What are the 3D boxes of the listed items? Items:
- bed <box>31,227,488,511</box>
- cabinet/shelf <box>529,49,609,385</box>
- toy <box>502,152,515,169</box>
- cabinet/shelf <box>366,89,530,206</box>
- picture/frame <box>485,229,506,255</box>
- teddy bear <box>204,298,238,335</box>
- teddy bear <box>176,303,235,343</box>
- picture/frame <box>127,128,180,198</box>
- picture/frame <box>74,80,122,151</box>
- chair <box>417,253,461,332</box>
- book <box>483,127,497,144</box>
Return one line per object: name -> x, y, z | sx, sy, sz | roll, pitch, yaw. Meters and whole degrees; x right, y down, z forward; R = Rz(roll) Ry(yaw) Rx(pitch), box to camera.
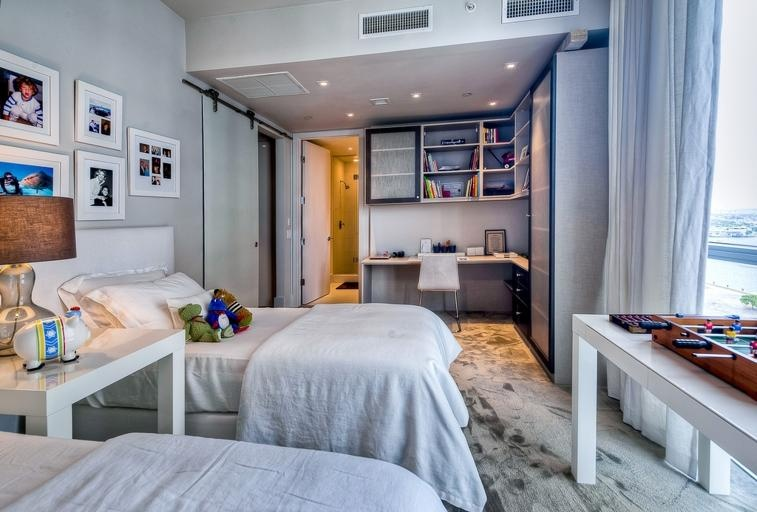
bed -> -0.574, 0.723, 3.192 | 2.115, 1.052, 1.784 | 0, 2, -2
cabinet/shelf -> 1.569, -0.357, 4.116 | 0.432, 2.612, 1.027 | 2, 14, -3
toy -> 1.512, -1.123, 5.753 | 0.109, 0.183, 0.346 | 4, 14, 5
cabinet/shelf -> 0.779, -1.136, 5.862 | 1.885, 1.085, 0.719 | 7, 14, 18
picture/frame -> 1.442, -0.170, 6.027 | 0.311, 0.414, 0.037 | 1, -2, 6
teddy bear -> -1.040, 0.399, 3.313 | 0.217, 0.247, 0.198 | 1, -2, -43
teddy bear -> -1.153, 0.435, 3.237 | 0.314, 0.267, 0.355 | 0, 7, 32
picture/frame -> -1.764, -0.721, 3.939 | 0.523, 0.510, 0.037 | 12, 13, 22
picture/frame -> -1.988, -0.998, 3.518 | 0.082, 0.464, 0.386 | 9, 15, 24
chair -> 0.651, 0.340, 5.634 | 0.597, 0.846, 0.632 | 3, 14, 11
book -> 1.310, -1.377, 5.757 | 0.209, 0.206, 0.151 | -1, 0, 15
